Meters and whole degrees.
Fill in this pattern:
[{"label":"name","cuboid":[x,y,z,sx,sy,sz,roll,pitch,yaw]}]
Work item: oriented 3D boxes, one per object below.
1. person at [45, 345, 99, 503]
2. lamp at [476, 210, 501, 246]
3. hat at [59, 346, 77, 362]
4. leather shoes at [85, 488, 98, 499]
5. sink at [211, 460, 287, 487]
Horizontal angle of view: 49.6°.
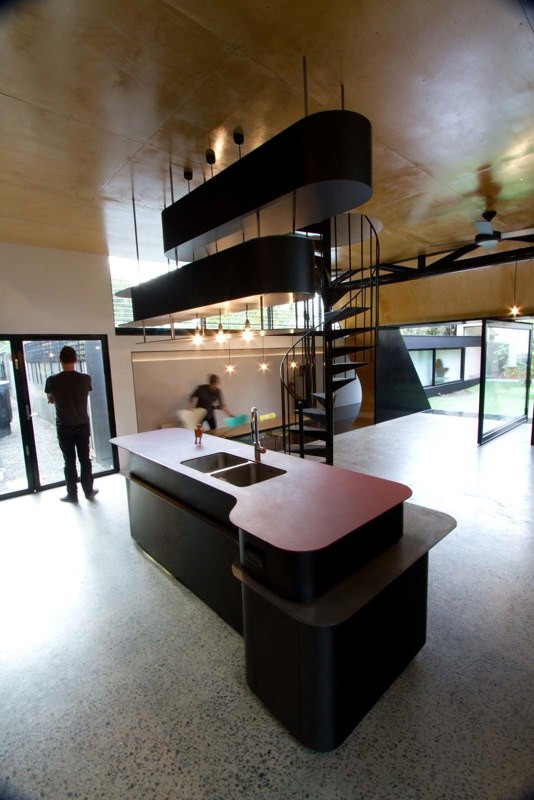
[{"label":"person","cuboid":[-1.799,0.221,5.378,0.348,1.429,0.445,1,8,15]},{"label":"lamp","cuboid":[1.927,-1.478,5.097,0.176,0.307,0.808,1,8,20]},{"label":"hat","cuboid":[-1.801,-0.443,5.267,0.113,0.153,0.149,2,41,-23]},{"label":"leather shoes","cuboid":[-1.658,0.903,5.519,0.042,0.092,0.134,5,35,11]},{"label":"sink","cuboid":[-0.092,0.466,3.541,0.528,0.174,0.159,3,9,30]}]
